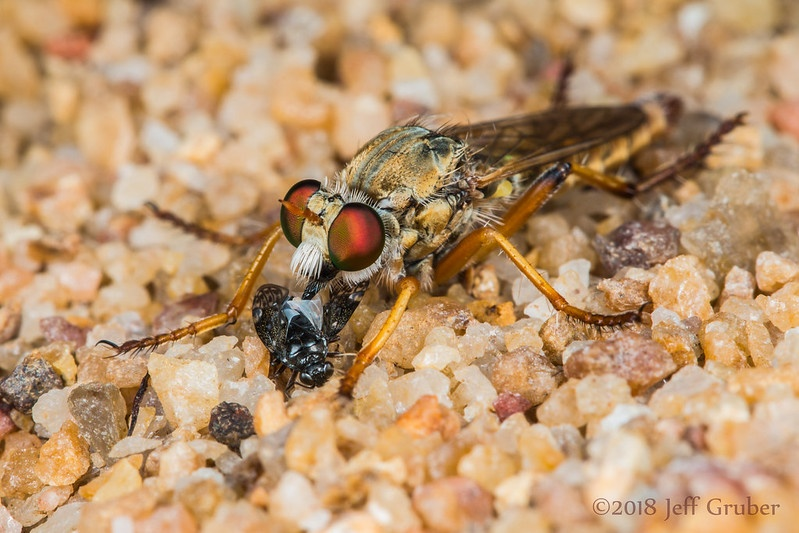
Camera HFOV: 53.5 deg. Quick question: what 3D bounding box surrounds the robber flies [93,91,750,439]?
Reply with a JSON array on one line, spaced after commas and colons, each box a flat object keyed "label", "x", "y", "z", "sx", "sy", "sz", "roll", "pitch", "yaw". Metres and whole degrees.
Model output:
[{"label": "robber flies", "x": 0.043, "y": 0.066, "z": 3.354, "sx": 1.738, "sy": 2.297, "sz": 1.433, "roll": 9, "pitch": 109, "yaw": 30}]

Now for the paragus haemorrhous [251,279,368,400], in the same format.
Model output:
[{"label": "paragus haemorrhous", "x": -0.307, "y": 0.220, "z": 2.861, "sx": 0.413, "sy": 0.429, "sz": 0.333, "roll": 9, "pitch": 105, "yaw": 36}]
